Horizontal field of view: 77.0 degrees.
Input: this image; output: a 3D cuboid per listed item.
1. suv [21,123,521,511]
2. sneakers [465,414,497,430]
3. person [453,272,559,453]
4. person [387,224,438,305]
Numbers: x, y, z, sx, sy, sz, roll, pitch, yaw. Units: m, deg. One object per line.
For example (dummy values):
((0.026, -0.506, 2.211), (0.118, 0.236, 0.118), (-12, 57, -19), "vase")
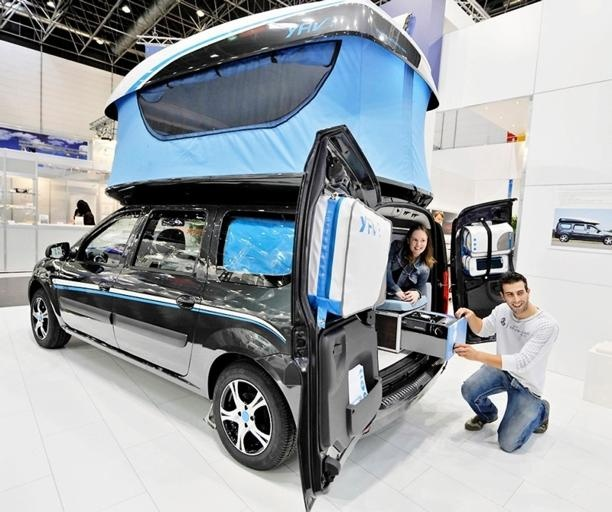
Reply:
((-0.474, 0.285, 3.172), (2.788, 1.408, 2.252), (15, 14, 39), "suv")
((1.417, 1.329, 3.144), (0.281, 0.121, 0.106), (1, -5, -29), "sneakers")
((1.518, 0.773, 2.959), (0.776, 1.303, 0.652), (0, 15, 7), "person")
((1.042, 0.061, 3.779), (0.469, 0.745, 0.217), (12, -1, -20), "person")
